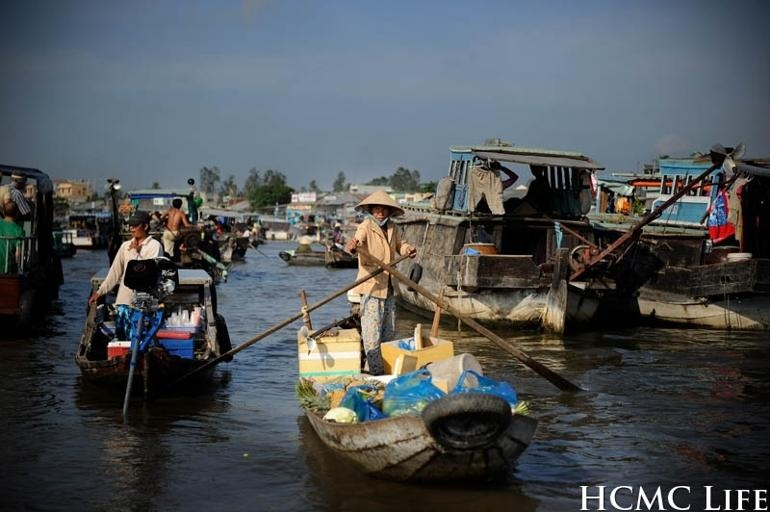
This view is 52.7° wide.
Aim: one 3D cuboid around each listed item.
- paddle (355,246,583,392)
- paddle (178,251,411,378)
[{"bbox_3d":[1.762,1.166,14.691,4.379,0.343,0.438,29,-27,0],"label":"paddle"},{"bbox_3d":[-1.957,1.253,15.014,0.252,0.655,9.890,-39,2,-27],"label":"paddle"}]
